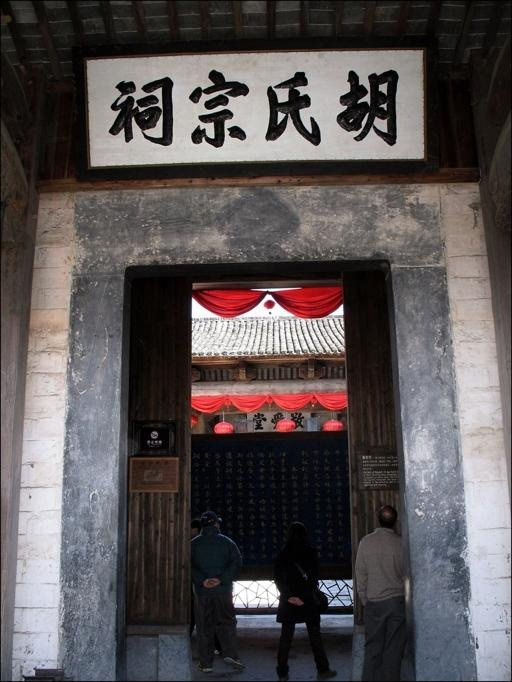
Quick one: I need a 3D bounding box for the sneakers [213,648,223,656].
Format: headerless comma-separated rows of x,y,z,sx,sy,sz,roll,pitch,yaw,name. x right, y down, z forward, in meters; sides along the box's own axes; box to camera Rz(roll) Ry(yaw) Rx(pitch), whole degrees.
-0.342,2.904,5.980,0.064,0.081,0.195,3,-21,1,sneakers

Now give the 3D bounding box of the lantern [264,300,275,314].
0.201,-0.602,10.273,0.168,0.262,0.183,-1,-17,5,lantern

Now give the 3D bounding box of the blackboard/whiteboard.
0.201,1.829,6.966,1.915,1.908,0.159,-2,-25,4,blackboard/whiteboard

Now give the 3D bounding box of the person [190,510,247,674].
-0.327,2.091,5.459,0.436,1.355,0.463,-1,0,22,person

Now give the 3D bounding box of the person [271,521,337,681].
0.347,2.109,5.240,0.460,1.208,0.415,-12,-18,25,person

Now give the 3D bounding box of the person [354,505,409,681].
0.779,1.627,4.003,0.321,0.876,0.233,-6,-16,7,person

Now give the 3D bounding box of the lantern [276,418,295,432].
0.528,1.499,11.609,0.271,0.255,0.413,-11,-18,19,lantern

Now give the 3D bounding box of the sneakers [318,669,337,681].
0.568,2.652,5.143,0.162,0.085,0.059,-9,13,-9,sneakers
